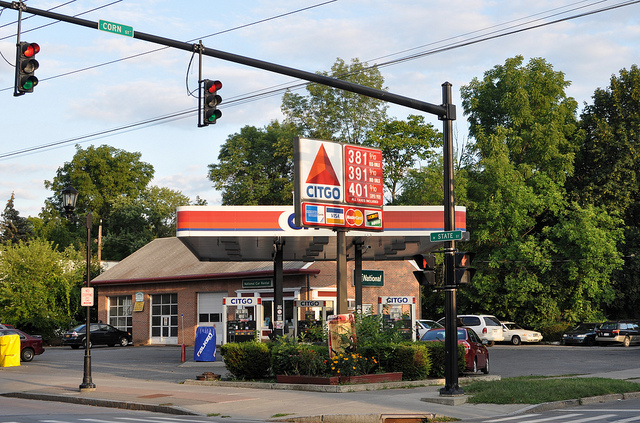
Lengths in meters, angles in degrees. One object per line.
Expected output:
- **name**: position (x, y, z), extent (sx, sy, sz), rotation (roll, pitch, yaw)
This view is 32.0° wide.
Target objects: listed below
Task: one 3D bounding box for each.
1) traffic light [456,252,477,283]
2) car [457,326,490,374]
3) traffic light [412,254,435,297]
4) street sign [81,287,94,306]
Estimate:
- **traffic light**: position (7.069, 2.677, 54.046), extent (0.909, 1.535, 0.513), rotation (-2, -11, -2)
- **car**: position (8.231, 7.532, 60.461), extent (1.038, 2.508, 2.619), rotation (-8, -12, 28)
- **traffic light**: position (5.161, 2.856, 54.585), extent (0.962, 1.644, 0.867), rotation (-3, -11, 6)
- **street sign**: position (-12.041, 4.415, 57.723), extent (0.537, 0.944, 0.387), rotation (1, -11, -18)
